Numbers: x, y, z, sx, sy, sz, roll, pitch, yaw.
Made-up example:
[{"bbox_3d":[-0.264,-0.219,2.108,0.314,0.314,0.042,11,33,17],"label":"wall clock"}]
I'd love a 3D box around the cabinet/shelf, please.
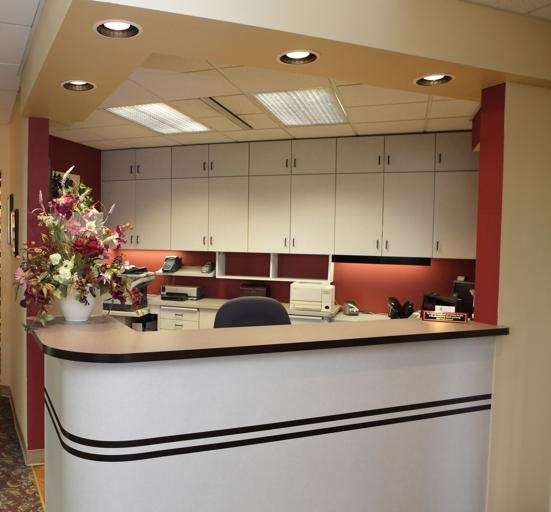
[{"bbox_3d":[0.090,-0.603,5.091,3.659,1.180,0.314,2,12,16],"label":"cabinet/shelf"}]

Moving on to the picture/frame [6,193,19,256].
[{"bbox_3d":[-2.191,-0.263,4.174,0.063,0.406,0.591,0,3,-25],"label":"picture/frame"}]

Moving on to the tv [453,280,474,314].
[{"bbox_3d":[1.580,0.363,4.204,0.156,0.260,0.273,-1,1,0],"label":"tv"}]

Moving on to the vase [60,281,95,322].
[{"bbox_3d":[-1.081,0.251,2.774,0.199,0.218,0.197,1,5,-14],"label":"vase"}]
